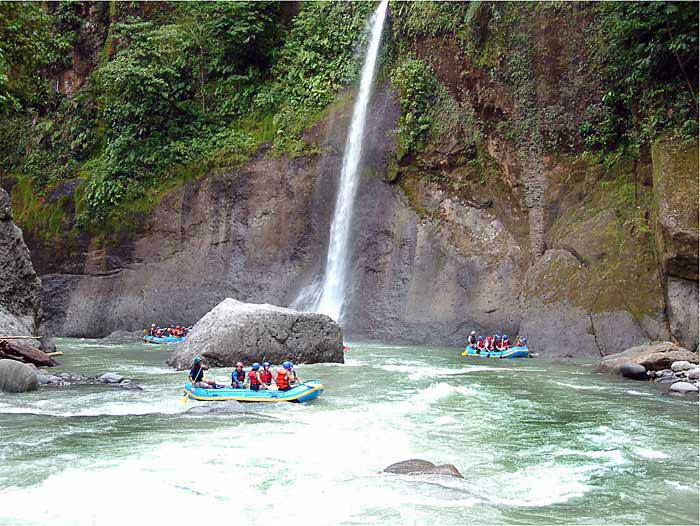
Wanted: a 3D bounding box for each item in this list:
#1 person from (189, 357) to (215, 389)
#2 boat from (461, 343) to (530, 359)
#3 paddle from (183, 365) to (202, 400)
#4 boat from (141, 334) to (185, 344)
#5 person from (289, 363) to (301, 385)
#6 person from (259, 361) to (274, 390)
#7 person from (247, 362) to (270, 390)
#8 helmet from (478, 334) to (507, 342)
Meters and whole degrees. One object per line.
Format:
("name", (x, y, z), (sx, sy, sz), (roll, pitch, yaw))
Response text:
("person", (-4.279, 3.148, 23.409), (0.844, 1.300, 0.626), (-3, 7, -28))
("boat", (5.776, 3.460, 31.330), (2.559, 0.572, 1.437), (-3, -11, 14))
("paddle", (-4.448, 3.461, 23.119), (0.756, 1.131, 0.629), (2, -3, -16))
("boat", (-8.477, 3.442, 35.994), (1.689, 0.488, 1.594), (0, -11, -4))
("person", (-1.697, 3.400, 24.410), (0.257, 0.919, 0.310), (-13, 24, -4))
("person", (-2.515, 3.362, 23.755), (0.261, 0.989, 0.473), (-20, -20, 37))
("person", (-2.758, 3.329, 23.370), (0.577, 0.829, 0.711), (3, 4, 30))
("helmet", (5.775, 2.993, 31.962), (0.617, 0.278, 0.490), (-1, -3, 15))
